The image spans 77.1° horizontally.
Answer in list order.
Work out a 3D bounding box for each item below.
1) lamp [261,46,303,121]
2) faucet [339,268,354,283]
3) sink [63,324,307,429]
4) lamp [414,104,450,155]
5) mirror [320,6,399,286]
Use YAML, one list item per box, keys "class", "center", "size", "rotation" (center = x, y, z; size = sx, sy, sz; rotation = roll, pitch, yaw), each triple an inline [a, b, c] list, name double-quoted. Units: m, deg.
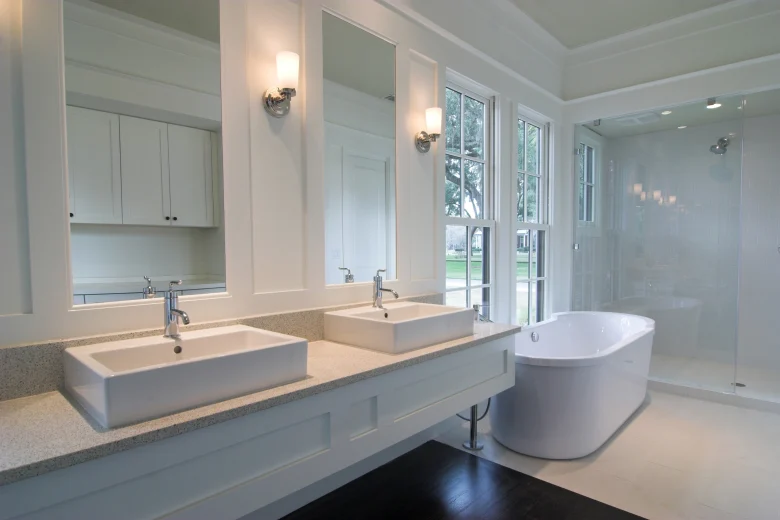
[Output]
- class: "lamp"
  center: [-0.580, -0.974, 2.756]
  size: [0.238, 0.328, 0.156]
  rotation: [-5, 5, -43]
- class: "faucet"
  center: [-0.271, 0.098, 3.110]
  size: [0.105, 0.105, 0.060]
  rotation: [-2, 5, -33]
- class: "sink"
  center: [-0.938, 0.502, 2.255]
  size: [0.943, 0.274, 0.568]
  rotation: [-4, 3, -34]
- class: "lamp"
  center: [0.291, -0.919, 3.493]
  size: [0.209, 0.276, 0.137]
  rotation: [2, 4, 21]
- class: "mirror"
  center: [-0.193, -0.693, 3.173]
  size: [0.096, 1.665, 0.641]
  rotation: [1, 5, 42]
